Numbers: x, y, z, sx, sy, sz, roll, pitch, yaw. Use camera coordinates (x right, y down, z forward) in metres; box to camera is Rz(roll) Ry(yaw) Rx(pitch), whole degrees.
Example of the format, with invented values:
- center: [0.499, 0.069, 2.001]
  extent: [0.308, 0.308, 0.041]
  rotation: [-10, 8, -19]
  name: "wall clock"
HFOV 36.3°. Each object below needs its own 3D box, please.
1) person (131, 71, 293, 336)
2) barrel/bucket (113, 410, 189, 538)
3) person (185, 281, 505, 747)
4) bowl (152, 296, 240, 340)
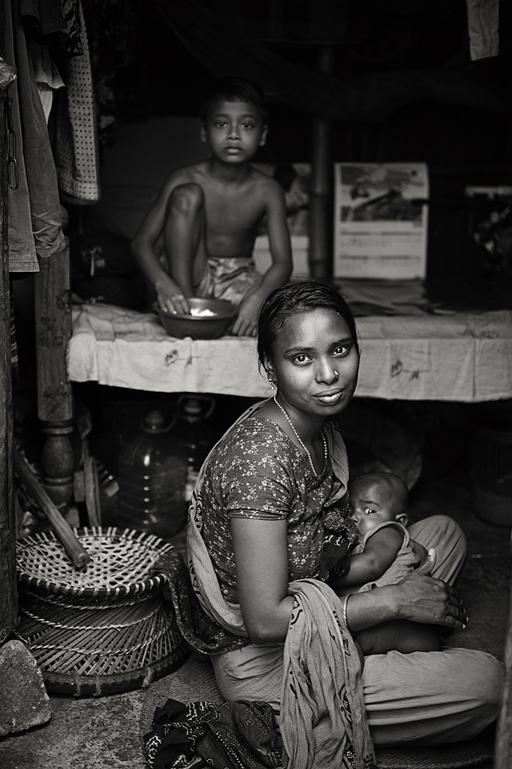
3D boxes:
- center: [-0.139, -0.685, 2.962]
  extent: [0.622, 0.912, 0.699]
  rotation: [18, 25, 30]
  name: "person"
- center: [-0.410, 0.348, 3.165]
  extent: [0.296, 0.474, 0.290]
  rotation: [2, 12, 0]
  name: "barrel/bucket"
- center: [0.244, 0.295, 1.880]
  extent: [0.716, 1.072, 0.536]
  rotation: [-3, 8, -23]
  name: "person"
- center: [-0.178, -0.229, 2.783]
  extent: [0.205, 0.070, 0.201]
  rotation: [2, 16, -1]
  name: "bowl"
